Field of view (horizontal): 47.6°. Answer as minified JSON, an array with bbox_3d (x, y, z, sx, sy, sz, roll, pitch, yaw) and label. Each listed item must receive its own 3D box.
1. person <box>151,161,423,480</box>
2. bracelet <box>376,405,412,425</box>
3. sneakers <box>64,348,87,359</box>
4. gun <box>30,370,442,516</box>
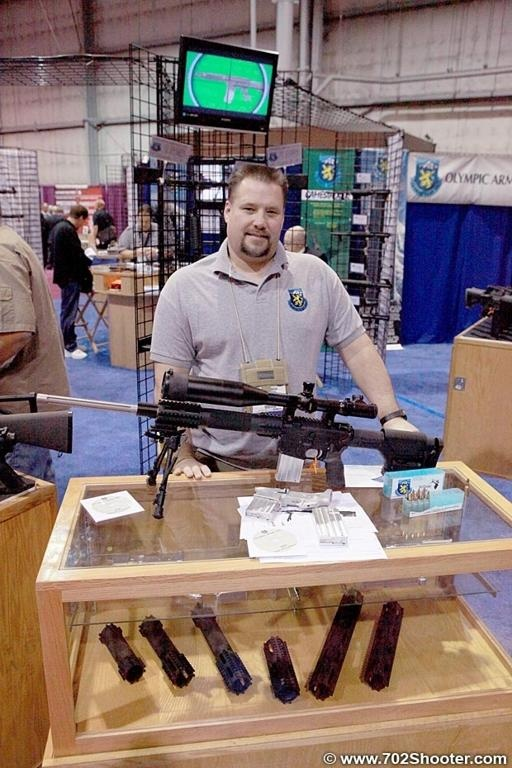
[{"bbox_3d":[0.048,-0.150,2.025,0.841,1.172,0.687,-6,13,-12],"label":"person"},{"bbox_3d":[0.418,0.104,1.830,0.060,0.023,0.064,-16,-6,-38],"label":"bracelet"},{"bbox_3d":[-2.369,-0.412,7.720,0.313,0.133,0.130,3,11,12],"label":"sneakers"},{"bbox_3d":[0.002,0.131,1.370,0.909,0.319,0.228,7,20,-13],"label":"gun"}]
